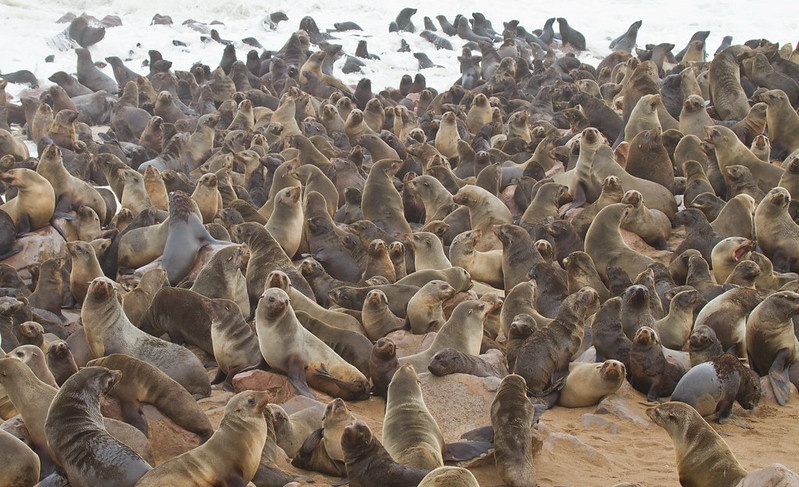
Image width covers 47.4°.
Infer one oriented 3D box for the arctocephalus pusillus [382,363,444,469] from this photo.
[{"bbox_3d":[0.166,2.558,12.925,0.745,0.517,1.256,-7,50,4],"label":"arctocephalus pusillus"}]
